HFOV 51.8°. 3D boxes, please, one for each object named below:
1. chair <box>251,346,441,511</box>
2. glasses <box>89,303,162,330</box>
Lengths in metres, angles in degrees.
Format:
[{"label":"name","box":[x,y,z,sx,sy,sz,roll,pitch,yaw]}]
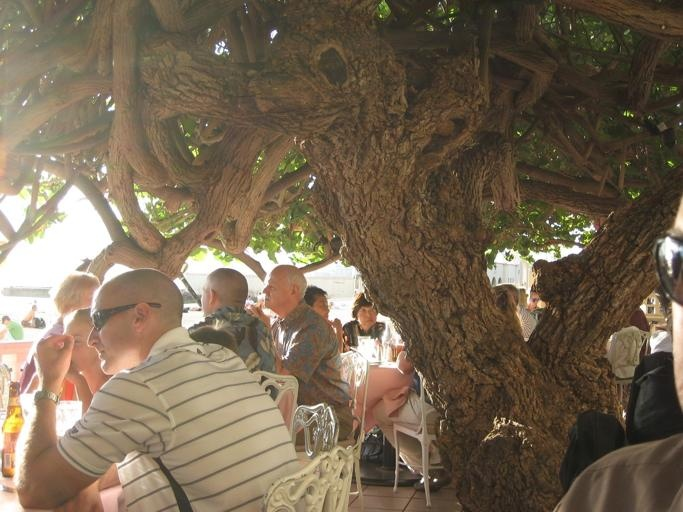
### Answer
[{"label":"chair","box":[0.199,1.725,7.115,1.500,1.664,1.438,-2,-3,35]},{"label":"glasses","box":[-1.221,0.308,3.781,0.204,0.063,0.200,-17,-5,-12]}]
